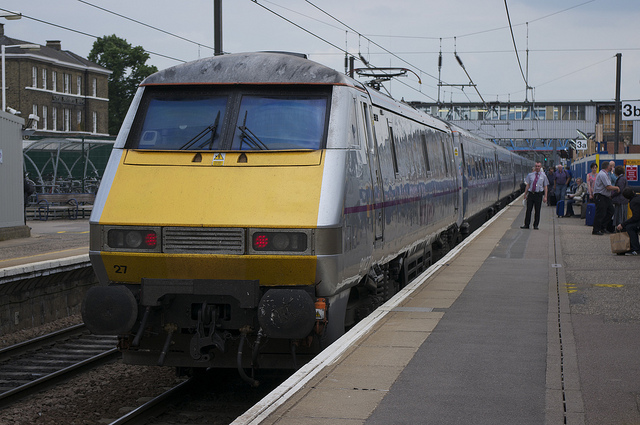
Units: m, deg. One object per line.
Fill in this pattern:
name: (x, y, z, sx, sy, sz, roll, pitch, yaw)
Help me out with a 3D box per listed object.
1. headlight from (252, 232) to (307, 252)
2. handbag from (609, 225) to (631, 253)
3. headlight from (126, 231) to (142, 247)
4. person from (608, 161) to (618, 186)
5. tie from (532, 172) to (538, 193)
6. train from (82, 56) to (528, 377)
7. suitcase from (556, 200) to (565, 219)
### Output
headlight: (-0.446, 0.331, 6.100, 0.587, 0.207, 0.061, 0, 4, 9)
handbag: (7.829, 0.716, 14.226, 0.307, 0.921, 0.638, -11, 6, -42)
headlight: (-2.151, 0.305, 6.317, 0.158, 0.171, 0.039, -3, 4, 13)
person: (9.831, -1.268, 18.348, 0.261, 0.978, 0.904, 5, 11, 31)
tie: (7.500, -1.019, 19.058, 0.176, 0.627, 0.102, 0, 4, 10)
train: (-0.050, 0.028, 8.803, 2.724, 4.424, 6.892, 1, 5, 26)
suitcase: (11.367, -0.164, 25.824, 0.289, 0.750, 0.599, 1, 5, 29)
